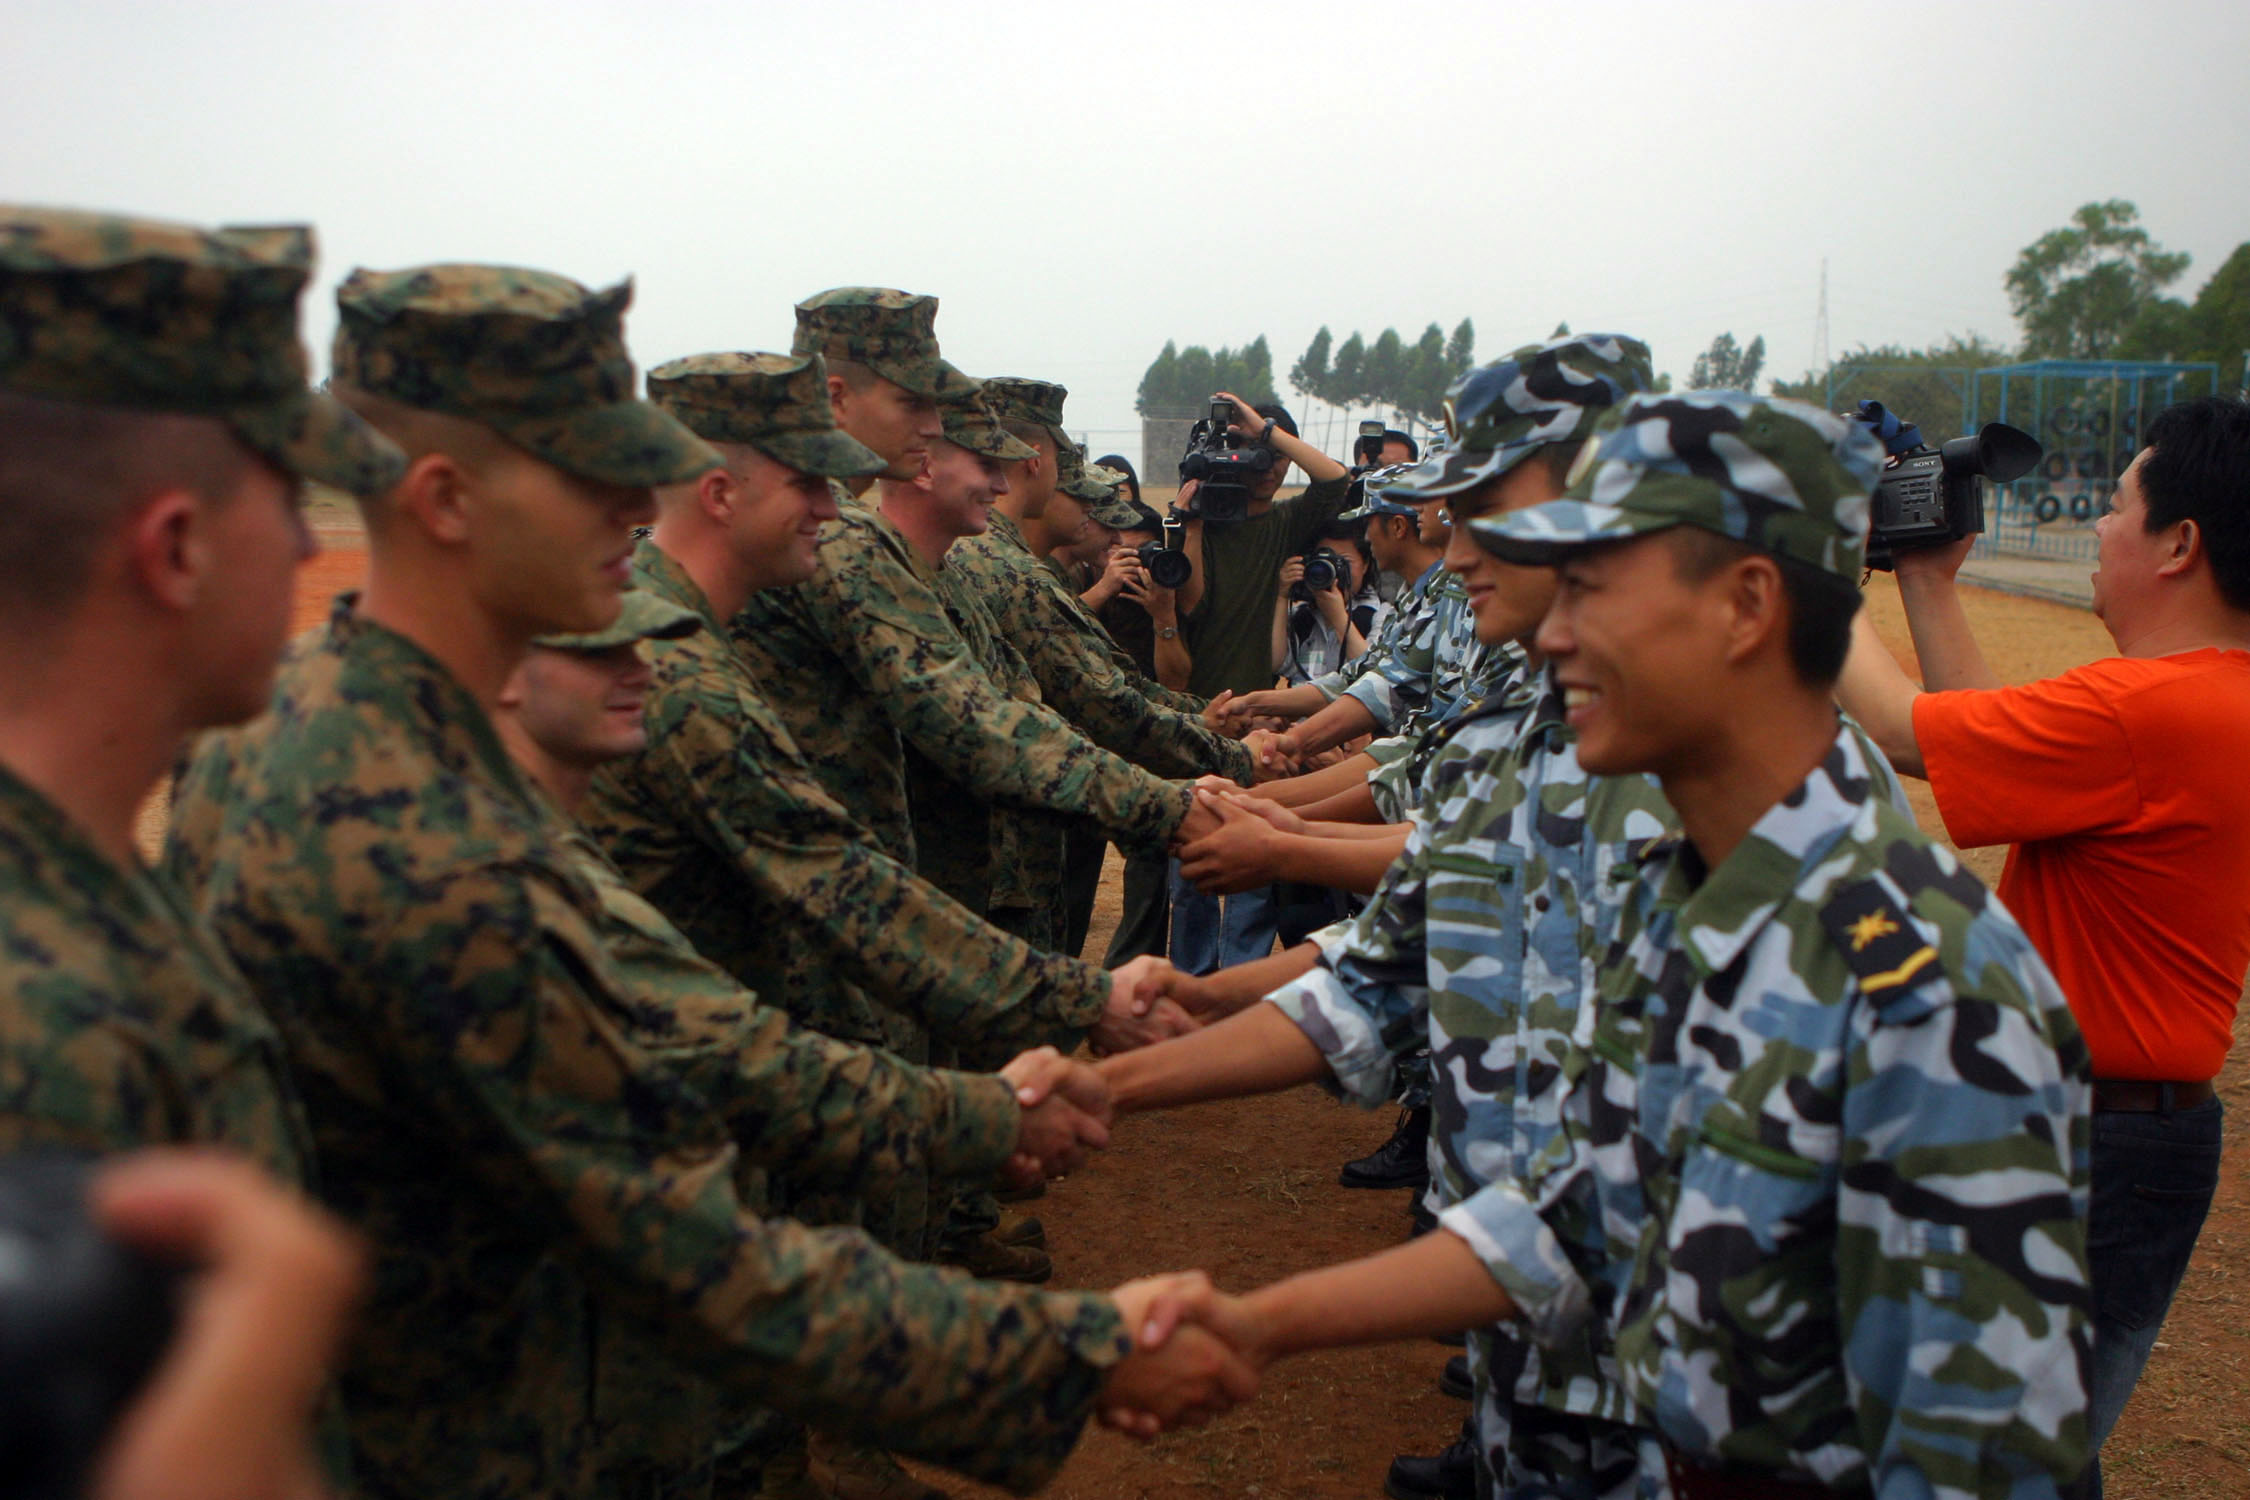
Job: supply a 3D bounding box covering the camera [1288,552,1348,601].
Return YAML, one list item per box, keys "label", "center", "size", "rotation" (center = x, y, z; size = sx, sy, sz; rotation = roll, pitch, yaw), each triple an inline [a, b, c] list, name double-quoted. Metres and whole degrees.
- label: "camera"
  center: [0.988, -0.854, 8.615]
  size: [0.195, 0.140, 0.227]
  rotation: [-1, 0, 10]

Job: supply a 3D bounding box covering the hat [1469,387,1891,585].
- label: "hat"
  center: [0.929, -0.356, 2.935]
  size: [0.600, 0.313, 0.420]
  rotation: [5, -1, 8]
